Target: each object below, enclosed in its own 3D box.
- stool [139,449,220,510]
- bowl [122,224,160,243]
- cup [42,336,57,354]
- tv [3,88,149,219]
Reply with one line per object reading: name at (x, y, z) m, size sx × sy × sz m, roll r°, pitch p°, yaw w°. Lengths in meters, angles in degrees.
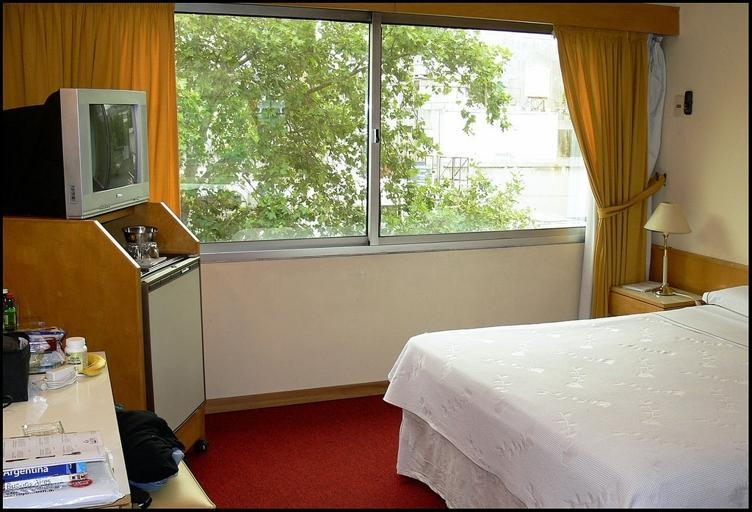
stool at (-0.851, 1.001, 2.226) m, size 0.226 × 0.120 × 0.353 m, roll -10°, pitch 8°, yaw -28°
bowl at (-1.460, -0.140, 3.198) m, size 0.149 × 0.056 × 0.147 m, roll 0°, pitch 9°, yaw 0°
cup at (-1.555, 0.417, 2.471) m, size 0.049 × 0.060 × 0.064 m, roll 2°, pitch -19°, yaw -37°
tv at (-1.595, -0.518, 3.124) m, size 0.812 × 0.803 × 0.786 m, roll 1°, pitch 5°, yaw 7°
